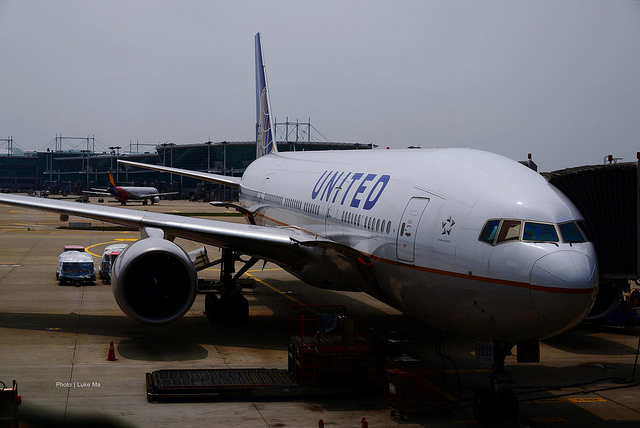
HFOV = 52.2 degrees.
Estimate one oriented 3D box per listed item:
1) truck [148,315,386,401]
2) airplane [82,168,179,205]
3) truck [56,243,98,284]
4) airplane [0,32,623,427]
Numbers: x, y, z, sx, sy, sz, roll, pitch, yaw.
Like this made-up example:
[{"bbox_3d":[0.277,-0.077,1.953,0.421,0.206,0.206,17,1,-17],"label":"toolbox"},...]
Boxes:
[{"bbox_3d":[-1.245,4.072,17.984,5.732,1.583,2.583,0,1,-3],"label":"truck"},{"bbox_3d":[-28.298,-3.736,102.044,8.541,3.199,10.070,7,12,13],"label":"airplane"},{"bbox_3d":[-11.925,2.552,32.330,1.663,1.092,3.563,0,1,-16],"label":"truck"},{"bbox_3d":[0.383,0.405,20.936,17.715,5.030,15.704,0,7,-17],"label":"airplane"}]
